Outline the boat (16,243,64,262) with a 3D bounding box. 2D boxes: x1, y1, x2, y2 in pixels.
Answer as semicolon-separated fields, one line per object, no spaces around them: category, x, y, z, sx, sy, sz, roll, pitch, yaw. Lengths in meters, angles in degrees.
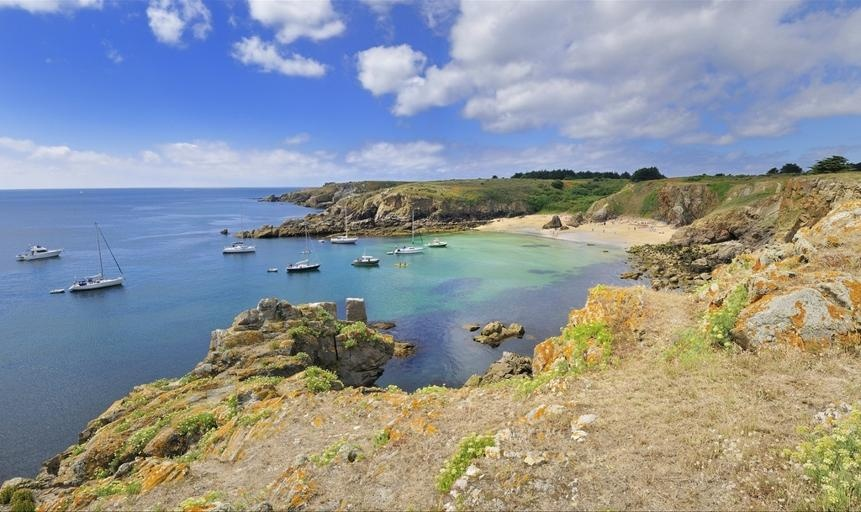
boat;-88.040;-0.519;101.892;3.420;3.723;9.670;12;12;37
